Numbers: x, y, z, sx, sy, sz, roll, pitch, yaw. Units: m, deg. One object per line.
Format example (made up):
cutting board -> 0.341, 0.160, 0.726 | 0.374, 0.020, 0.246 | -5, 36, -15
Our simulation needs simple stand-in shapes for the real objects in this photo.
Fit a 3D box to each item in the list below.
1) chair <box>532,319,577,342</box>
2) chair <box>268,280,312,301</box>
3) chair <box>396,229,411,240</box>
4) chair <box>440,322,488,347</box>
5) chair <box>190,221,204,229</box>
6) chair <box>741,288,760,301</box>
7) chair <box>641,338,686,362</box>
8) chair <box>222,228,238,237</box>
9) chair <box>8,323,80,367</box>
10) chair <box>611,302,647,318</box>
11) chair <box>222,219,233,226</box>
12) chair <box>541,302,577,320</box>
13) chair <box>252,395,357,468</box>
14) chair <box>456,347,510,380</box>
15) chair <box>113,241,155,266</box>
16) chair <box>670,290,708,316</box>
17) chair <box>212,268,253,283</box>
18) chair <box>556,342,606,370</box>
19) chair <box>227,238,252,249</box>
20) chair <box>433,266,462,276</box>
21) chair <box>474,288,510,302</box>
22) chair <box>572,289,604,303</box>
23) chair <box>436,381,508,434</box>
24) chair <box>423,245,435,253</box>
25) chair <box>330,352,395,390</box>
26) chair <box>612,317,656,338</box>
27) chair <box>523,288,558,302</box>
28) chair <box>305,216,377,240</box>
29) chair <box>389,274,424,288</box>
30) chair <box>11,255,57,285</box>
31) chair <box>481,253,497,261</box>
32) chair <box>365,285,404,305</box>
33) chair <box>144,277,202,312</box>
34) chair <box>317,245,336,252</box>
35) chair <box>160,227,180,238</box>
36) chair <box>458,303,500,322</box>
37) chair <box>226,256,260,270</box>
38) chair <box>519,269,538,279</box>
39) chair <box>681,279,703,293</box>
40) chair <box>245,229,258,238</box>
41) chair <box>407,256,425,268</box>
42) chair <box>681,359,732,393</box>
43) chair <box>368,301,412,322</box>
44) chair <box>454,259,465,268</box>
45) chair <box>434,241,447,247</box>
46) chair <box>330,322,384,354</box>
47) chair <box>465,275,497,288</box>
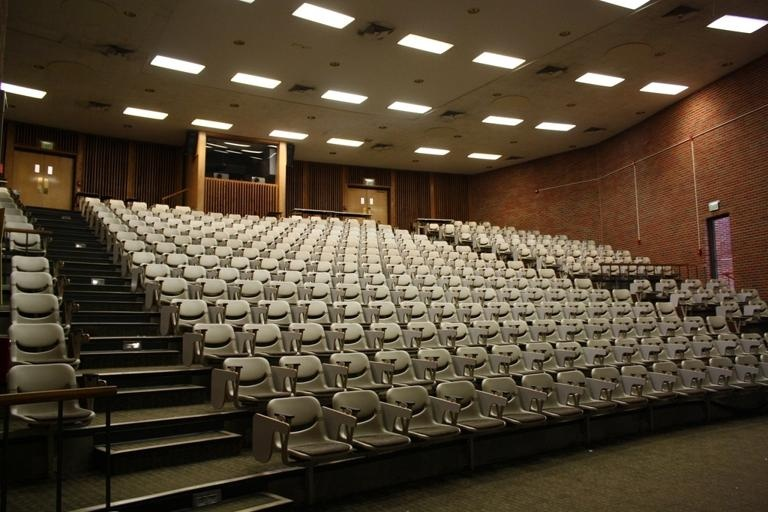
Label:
chair -> 3.056, 1.353, 9.190 | 0.649, 0.481, 0.441 | 9, -12, -8
chair -> -1.700, 0.613, 8.988 | 0.486, 0.298, 0.431 | 4, -12, -16
chair -> 0.626, -0.653, 15.658 | 0.371, 0.397, 0.407 | 5, -21, -14
chair -> 1.348, 1.304, 8.416 | 0.618, 0.323, 0.497 | 3, -11, -19
chair -> -4.723, -0.782, 12.774 | 0.278, 0.290, 0.279 | 2, -4, -37
chair -> 8.530, 0.897, 11.783 | 0.288, 0.280, 0.355 | 6, -17, -32
chair -> 4.843, 1.662, 8.970 | 0.592, 0.298, 0.480 | 3, -10, -15
chair -> -3.776, -0.578, 12.548 | 0.309, 0.307, 0.293 | 1, -3, -32
chair -> -3.794, 0.995, 5.704 | 0.763, 0.563, 0.614 | 5, -16, -34
chair -> 5.205, 1.170, 10.817 | 0.474, 0.516, 0.486 | 1, -12, -4
chair -> -4.232, -0.896, 13.634 | 0.217, 0.234, 0.225 | 2, -5, -34
chair -> 3.464, 1.108, 10.162 | 0.475, 0.373, 0.388 | 4, -10, -11
chair -> -0.873, 1.789, 5.248 | 0.971, 0.507, 0.733 | 9, -16, -39
chair -> 1.403, 1.556, 7.460 | 0.585, 0.327, 0.518 | 4, -13, -21
chair -> -4.651, -0.125, 9.424 | 0.647, 0.521, 0.567 | 5, -13, -31
chair -> 7.142, 1.145, 11.984 | 0.888, 0.672, 0.653 | 2, -8, -18
chair -> -2.733, 0.360, 9.154 | 0.434, 0.358, 0.313 | 3, -14, -15
chair -> 3.173, 1.600, 8.218 | 0.738, 0.356, 0.498 | 5, -12, -21
chair -> -3.361, -0.265, 11.608 | 0.370, 0.371, 0.330 | -1, -1, 31
chair -> 1.505, 0.370, 12.115 | 0.455, 0.139, 0.306 | 5, -8, -16
chair -> 2.304, 0.841, 11.024 | 0.520, 0.171, 0.358 | 4, -8, -14
chair -> 4.669, 0.931, 11.678 | 0.450, 0.478, 0.446 | 1, -12, -1
chair -> 1.087, 1.839, 6.335 | 0.711, 0.419, 0.622 | 6, -12, -31
chair -> 1.313, -0.202, 14.493 | 0.292, 0.195, 0.225 | -1, 8, -3
chair -> -0.330, 1.439, 6.504 | 0.630, 0.386, 0.575 | 6, -11, -28
chair -> 4.840, 1.369, 9.810 | 0.723, 0.351, 0.478 | 5, -7, 0
chair -> 3.530, 0.873, 11.406 | 0.416, 0.249, 0.494 | 5, -12, -23
chair -> -1.258, -0.812, 14.937 | 1.987, 0.872, 2.771 | -1, -3, 4
chair -> 0.493, 0.537, 10.931 | 0.366, 0.169, 0.445 | -3, -16, 20
chair -> -4.866, 0.177, 7.053 | 0.376, 0.423, 0.403 | 6, -16, -32
chair -> 3.092, 0.041, 14.785 | 0.275, 0.310, 0.315 | 2, -21, -2
chair -> -0.035, 0.734, 9.832 | 0.408, 0.425, 0.468 | 6, -17, -18
chair -> -3.317, 0.544, 7.871 | 0.710, 0.476, 0.525 | 7, -20, -30
chair -> -1.339, -0.157, 12.146 | 0.343, 0.180, 0.308 | 0, -3, -8
chair -> -4.753, -0.510, 11.202 | 0.274, 0.284, 0.271 | 5, -14, -31
chair -> 1.762, 1.053, 9.561 | 0.542, 0.444, 0.438 | 3, -17, -12
chair -> -2.780, 0.173, 10.047 | 0.368, 0.380, 0.339 | 3, -9, -26
chair -> 3.716, 0.455, 13.017 | 0.311, 0.345, 0.292 | -3, -49, 1
chair -> 7.791, 0.739, 12.784 | 0.448, 0.212, 0.583 | -3, 0, 27
chair -> -3.355, -0.571, 12.832 | 0.256, 0.267, 0.256 | 3, -7, -39
chair -> 0.779, 0.140, 12.557 | 0.293, 0.301, 0.283 | 0, -13, 1
chair -> 5.189, 1.856, 8.230 | 0.780, 0.435, 0.518 | 5, -11, -23
chair -> 0.091, 0.999, 8.961 | 0.441, 0.432, 0.532 | 3, -15, -15
chair -> 1.955, 0.196, 12.980 | 0.246, 0.170, 0.246 | 3, -11, 19
chair -> 1.725, -0.361, 15.269 | 0.251, 0.264, 0.240 | 2, -7, -13
chair -> -0.416, 1.227, 7.622 | 0.570, 0.563, 0.545 | 3, -10, -20
chair -> 2.241, 0.609, 11.706 | 0.370, 0.167, 0.478 | -3, -10, 26
